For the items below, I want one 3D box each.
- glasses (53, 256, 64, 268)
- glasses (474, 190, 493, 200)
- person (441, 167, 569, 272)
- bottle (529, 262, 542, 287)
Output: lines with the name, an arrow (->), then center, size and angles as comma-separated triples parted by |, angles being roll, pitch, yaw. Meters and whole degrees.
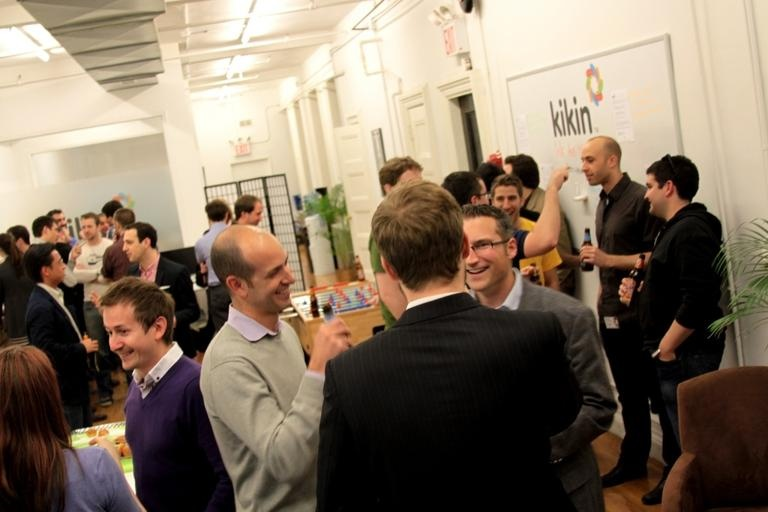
glasses -> -3.073, 0.046, 4.872 | 0.074, 0.098, 0.090 | 2, -33, 2
glasses -> 0.714, -0.441, 3.747 | 0.126, 0.042, 0.130 | -4, 2, 28
person -> 0.940, -0.311, 3.525 | 0.801, 0.581, 0.616 | -4, -5, -26
bottle -> 0.943, 0.114, 3.256 | 0.062, 0.072, 0.221 | 18, 27, 1
